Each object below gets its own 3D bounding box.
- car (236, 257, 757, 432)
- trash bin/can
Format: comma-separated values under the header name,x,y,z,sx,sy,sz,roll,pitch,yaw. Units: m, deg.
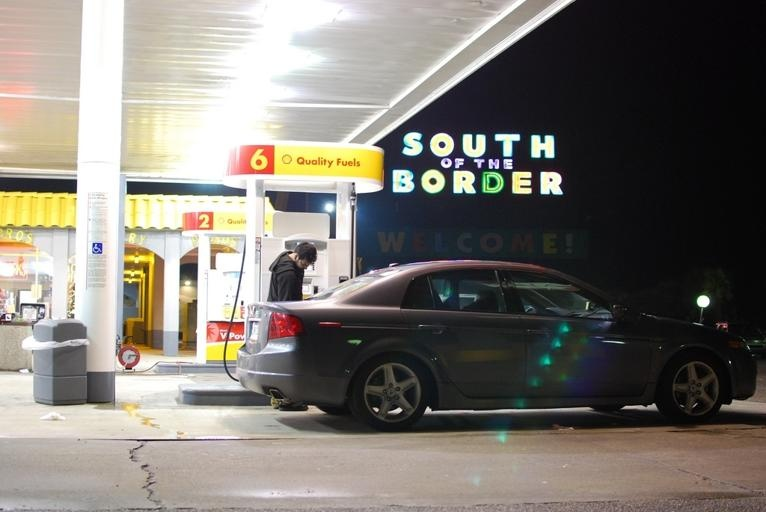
name,x,y,z,sx,sy,sz,roll,pitch,yaw
car,1.404,1.088,8.907,5.664,1.594,2.458,-2,-3,-9
trash bin/can,-4.779,1.536,9.739,0.791,1.232,0.516,0,7,-6
